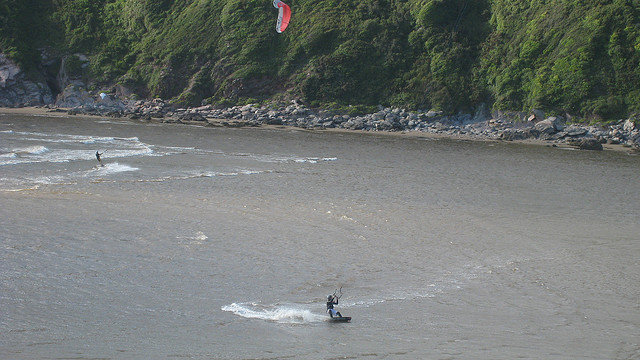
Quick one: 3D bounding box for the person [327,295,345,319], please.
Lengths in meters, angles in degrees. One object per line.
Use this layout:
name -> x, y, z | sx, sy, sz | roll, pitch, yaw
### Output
person -> 2.009, 16.468, 144.247 | 1.888, 2.839, 0.899 | 5, 11, 3
